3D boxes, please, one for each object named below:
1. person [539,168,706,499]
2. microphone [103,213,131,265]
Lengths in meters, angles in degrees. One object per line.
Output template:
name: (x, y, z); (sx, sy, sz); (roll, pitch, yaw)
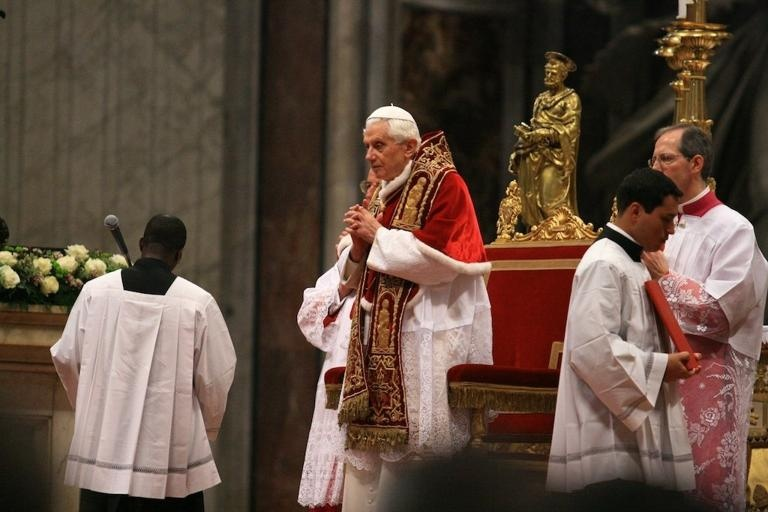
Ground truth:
person: (1.550, 0.461, 9.785); (0.926, 1.803, 0.376); (2, 1, 5)
microphone: (-2.098, -0.120, 12.165); (0.108, 0.477, 0.129); (2, 37, 47)
